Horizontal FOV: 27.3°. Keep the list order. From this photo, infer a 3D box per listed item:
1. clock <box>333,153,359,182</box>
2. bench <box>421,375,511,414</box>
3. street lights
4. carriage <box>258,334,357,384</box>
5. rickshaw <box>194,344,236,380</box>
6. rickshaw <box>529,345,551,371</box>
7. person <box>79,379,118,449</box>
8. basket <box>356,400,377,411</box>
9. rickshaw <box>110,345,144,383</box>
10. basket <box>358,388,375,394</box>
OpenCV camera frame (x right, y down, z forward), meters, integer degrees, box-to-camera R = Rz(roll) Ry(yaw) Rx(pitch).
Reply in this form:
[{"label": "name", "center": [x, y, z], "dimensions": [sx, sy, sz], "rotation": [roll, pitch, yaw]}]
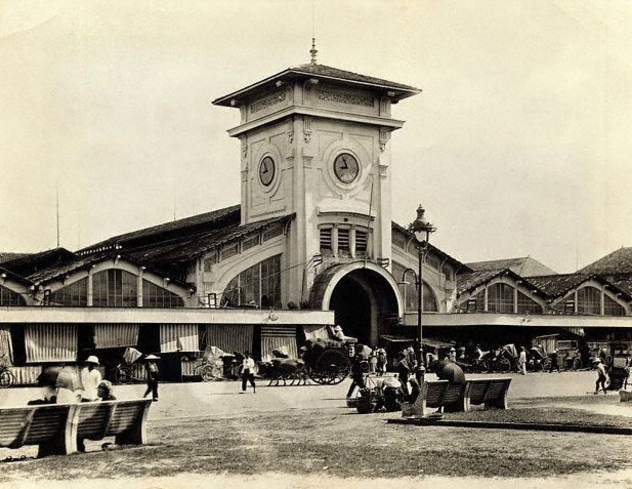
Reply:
[{"label": "clock", "center": [1.445, -3.924, 65.390], "dimensions": [1.350, 1.460, 0.092], "rotation": [3, -9, -30]}, {"label": "bench", "center": [4.326, 4.464, 38.768], "dimensions": [3.408, 1.274, 0.775], "rotation": [11, -15, -40]}, {"label": "street lights", "center": [4.279, 2.551, 54.764], "dimensions": [0.592, 6.681, 0.854], "rotation": [-1, -1, -26]}, {"label": "carriage", "center": [-0.269, 4.731, 52.478], "dimensions": [2.813, 1.631, 2.005], "rotation": [0, -3, -13]}, {"label": "rickshaw", "center": [-4.265, 4.947, 54.668], "dimensions": [1.530, 1.751, 2.793], "rotation": [2, -12, -5]}, {"label": "rickshaw", "center": [10.679, 5.439, 62.955], "dimensions": [1.094, 1.517, 2.209], "rotation": [-2, -12, 10]}, {"label": "person", "center": [-5.880, 4.569, 35.672], "dimensions": [0.680, 1.690, 0.688], "rotation": [0, -6, -26]}, {"label": "basket", "center": [1.490, 4.866, 39.574], "dimensions": [0.586, 0.505, 0.521], "rotation": [0, -12, 0]}, {"label": "rickshaw", "center": [-7.664, 4.868, 52.665], "dimensions": [1.154, 1.597, 2.079], "rotation": [0, -12, 3]}, {"label": "basket", "center": [1.504, 4.490, 39.830], "dimensions": [0.347, 0.303, 0.528], "rotation": [-4, -13, 19]}]
